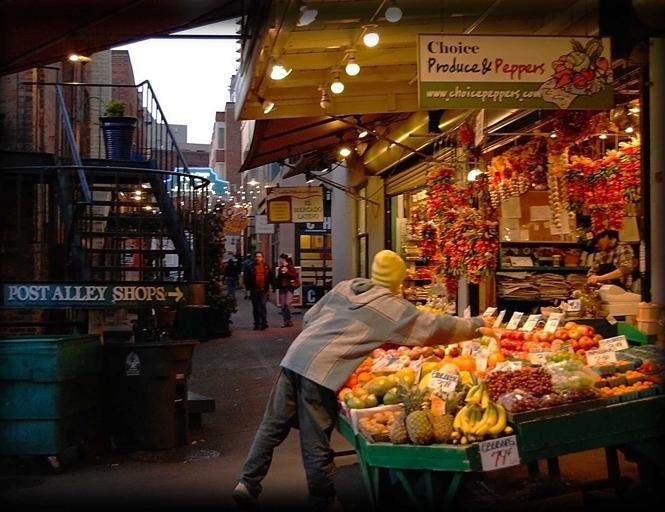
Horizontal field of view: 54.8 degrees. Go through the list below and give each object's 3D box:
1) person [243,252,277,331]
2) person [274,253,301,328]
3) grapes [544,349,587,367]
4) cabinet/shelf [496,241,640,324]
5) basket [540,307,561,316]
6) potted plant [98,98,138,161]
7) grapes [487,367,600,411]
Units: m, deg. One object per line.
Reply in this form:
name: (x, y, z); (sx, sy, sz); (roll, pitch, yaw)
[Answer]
person: (-2.015, 0.931, 16.896); (1.148, 1.788, 0.866); (4, 4, -17)
person: (-1.172, 0.885, 17.424); (0.748, 1.767, 0.766); (2, 8, -32)
grapes: (1.978, 0.872, 5.458); (0.299, 0.107, 0.189); (-1, -3, 16)
cabinet/shelf: (3.234, 0.385, 8.908); (1.927, 1.127, 0.442); (0, -10, -1)
basket: (2.475, 0.634, 7.250); (0.167, 0.081, 0.155); (3, -6, -21)
potted plant: (-3.954, -2.285, 11.697); (0.789, 1.110, 0.558); (2, 6, 10)
grapes: (1.422, 0.950, 4.624); (0.717, 0.187, 0.596); (-2, 2, -23)
